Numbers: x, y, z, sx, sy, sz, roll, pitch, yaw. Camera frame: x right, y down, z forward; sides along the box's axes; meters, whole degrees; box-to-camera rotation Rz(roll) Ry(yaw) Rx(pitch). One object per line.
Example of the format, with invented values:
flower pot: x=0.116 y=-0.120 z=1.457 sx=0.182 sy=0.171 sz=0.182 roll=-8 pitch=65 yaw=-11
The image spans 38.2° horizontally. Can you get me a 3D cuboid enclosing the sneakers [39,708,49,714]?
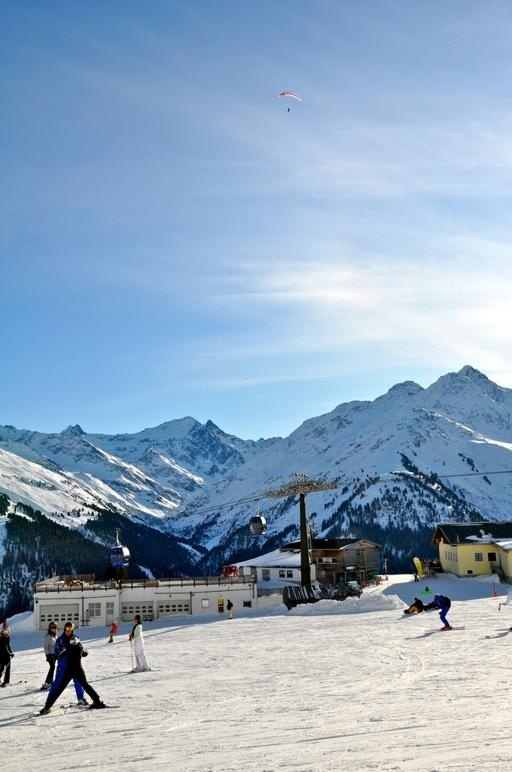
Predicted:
sneakers: x=-5.343 y=8.173 z=18.505 sx=0.235 sy=0.113 sz=0.291 roll=-3 pitch=-8 yaw=-8
